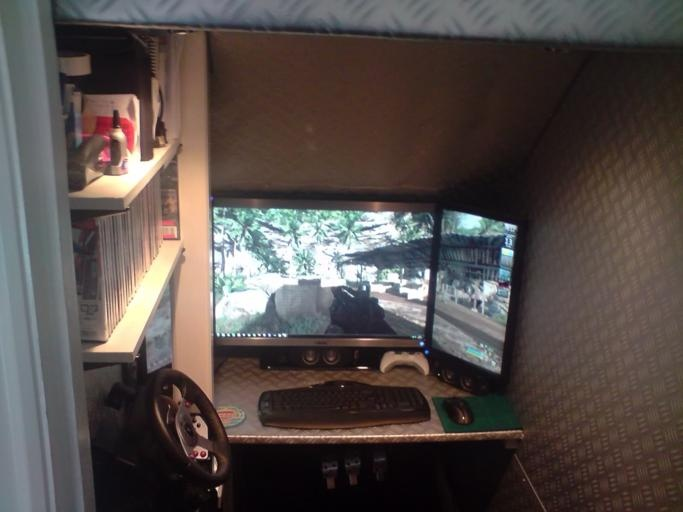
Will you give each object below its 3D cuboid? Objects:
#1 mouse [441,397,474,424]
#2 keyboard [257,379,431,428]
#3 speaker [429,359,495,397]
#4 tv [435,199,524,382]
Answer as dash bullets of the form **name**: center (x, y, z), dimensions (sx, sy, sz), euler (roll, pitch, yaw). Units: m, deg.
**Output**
- **mouse**: center (0.434, 0.573, 1.941), dimensions (0.089, 0.049, 0.129), euler (-1, 14, -12)
- **keyboard**: center (0.013, 0.562, 1.954), dimensions (0.625, 0.070, 0.203), euler (1, 14, -8)
- **speaker**: center (0.490, 0.460, 2.096), dimensions (0.111, 0.072, 0.190), euler (-3, 16, -38)
- **tv**: center (0.493, 0.140, 1.982), dimensions (0.032, 0.589, 0.316), euler (-11, 19, -44)
